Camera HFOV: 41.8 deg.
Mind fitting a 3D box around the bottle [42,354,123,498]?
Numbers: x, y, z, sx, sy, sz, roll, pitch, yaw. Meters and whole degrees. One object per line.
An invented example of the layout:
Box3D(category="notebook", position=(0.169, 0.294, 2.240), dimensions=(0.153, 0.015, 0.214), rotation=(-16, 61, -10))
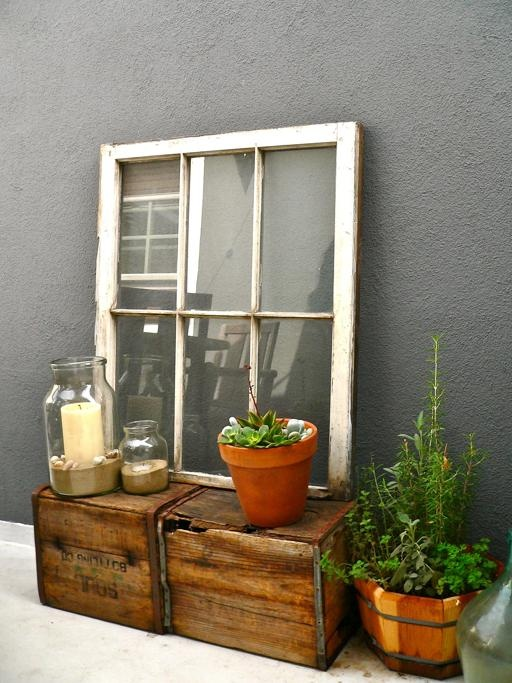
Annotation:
Box3D(category="bottle", position=(-0.402, 0.209, 1.580), dimensions=(0.163, 0.340, 0.139), rotation=(3, 14, 14))

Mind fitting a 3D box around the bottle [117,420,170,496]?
Box3D(category="bottle", position=(-0.259, 0.274, 1.552), dimensions=(0.098, 0.169, 0.107), rotation=(2, 10, 0))

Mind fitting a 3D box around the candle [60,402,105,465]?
Box3D(category="candle", position=(-0.398, 0.210, 1.544), dimensions=(0.088, 0.134, 0.060), rotation=(-4, 8, -15))

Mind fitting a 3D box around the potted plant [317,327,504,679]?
Box3D(category="potted plant", position=(0.324, 0.318, 1.344), dimensions=(0.316, 0.634, 0.421), rotation=(1, 8, 19))
